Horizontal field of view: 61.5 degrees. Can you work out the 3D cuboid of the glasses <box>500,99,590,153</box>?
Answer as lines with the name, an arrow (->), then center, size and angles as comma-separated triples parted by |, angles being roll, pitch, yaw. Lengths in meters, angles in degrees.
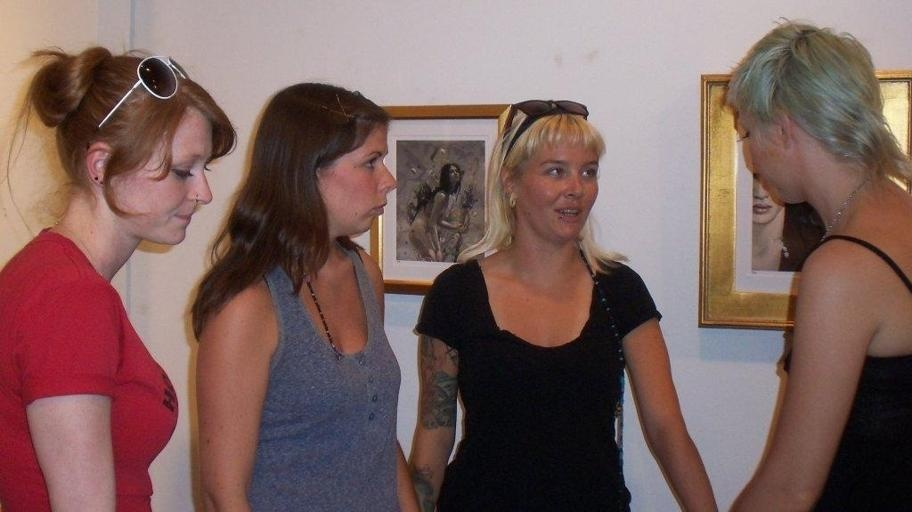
glasses -> 0.327, -0.575, 2.925 | 0.242, 0.247, 0.072 | -4, 37, -28

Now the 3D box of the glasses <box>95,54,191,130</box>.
glasses -> -0.927, -0.575, 2.371 | 0.250, 0.080, 0.239 | -39, 13, 19

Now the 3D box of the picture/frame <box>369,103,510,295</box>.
picture/frame -> -0.046, -0.288, 3.252 | 0.869, 0.984, 0.072 | 1, 5, 19
